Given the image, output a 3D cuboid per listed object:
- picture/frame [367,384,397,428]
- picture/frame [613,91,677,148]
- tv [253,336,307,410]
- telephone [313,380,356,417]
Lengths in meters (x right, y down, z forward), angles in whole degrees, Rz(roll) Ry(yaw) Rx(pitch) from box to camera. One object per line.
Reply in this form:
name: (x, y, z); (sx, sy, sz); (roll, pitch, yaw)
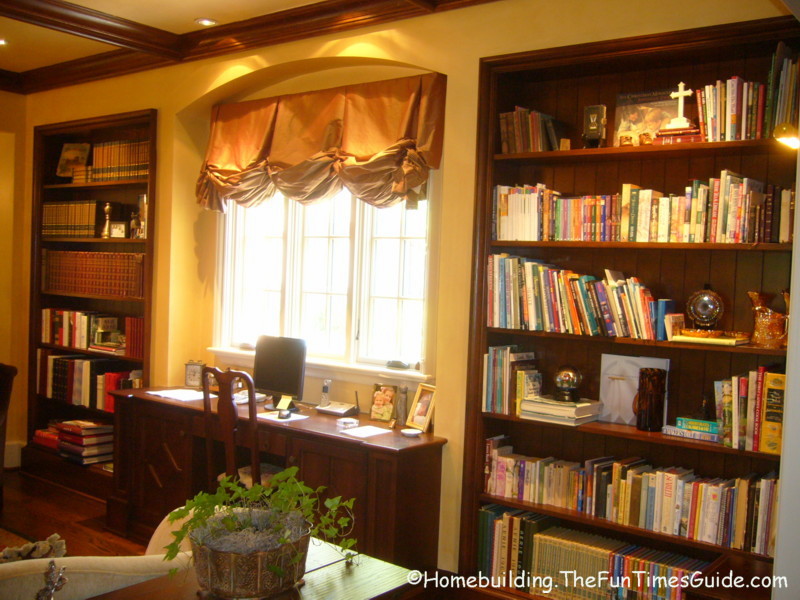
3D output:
picture/frame: (-0.109, 0.672, 4.064); (0.217, 0.253, 0.039); (-3, -11, 38)
picture/frame: (1.261, -0.926, 3.268); (0.345, 0.342, 0.050); (2, -6, 34)
tv: (-0.815, 0.487, 4.319); (0.455, 0.460, 0.164); (-1, -4, 35)
telephone: (-0.421, 0.596, 4.285); (0.338, 0.270, 0.188); (3, 1, 40)
